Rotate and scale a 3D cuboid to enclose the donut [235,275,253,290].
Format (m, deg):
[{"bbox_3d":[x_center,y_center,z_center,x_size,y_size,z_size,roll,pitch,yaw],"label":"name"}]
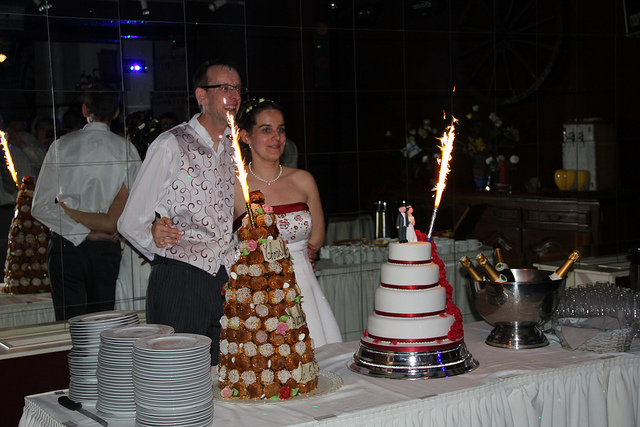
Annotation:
[{"bbox_3d":[-0.312,0.281,1.980,0.076,0.059,0.025,-1,4,5],"label":"donut"}]

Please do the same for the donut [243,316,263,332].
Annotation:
[{"bbox_3d":[-0.271,0.444,1.948,0.055,0.058,0.017,-1,-6,9],"label":"donut"}]

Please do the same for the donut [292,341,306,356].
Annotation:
[{"bbox_3d":[-0.078,0.557,1.994,0.053,0.055,0.014,8,-10,-31],"label":"donut"}]

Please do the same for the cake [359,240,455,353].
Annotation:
[{"bbox_3d":[0.413,0.370,2.385,0.468,0.428,0.438,-1,1,-5],"label":"cake"}]

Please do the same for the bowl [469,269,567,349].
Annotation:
[{"bbox_3d":[1.043,0.492,2.647,0.406,0.295,0.400,-1,1,0],"label":"bowl"}]

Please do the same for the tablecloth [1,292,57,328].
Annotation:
[{"bbox_3d":[-2.156,0.699,3.573,0.344,0.248,0.041,-3,4,-18],"label":"tablecloth"}]

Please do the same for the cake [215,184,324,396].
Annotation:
[{"bbox_3d":[-0.244,0.325,2.037,0.456,0.857,0.232,-2,4,-2],"label":"cake"}]

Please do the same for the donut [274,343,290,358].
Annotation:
[{"bbox_3d":[-0.150,0.558,1.960,0.050,0.031,0.051,3,-2,-9],"label":"donut"}]

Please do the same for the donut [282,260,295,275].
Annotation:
[{"bbox_3d":[-0.134,0.231,2.037,0.048,0.048,0.026,-8,-23,-46],"label":"donut"}]

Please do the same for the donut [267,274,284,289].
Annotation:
[{"bbox_3d":[-0.177,0.278,1.968,0.057,0.058,0.029,-46,15,-12],"label":"donut"}]

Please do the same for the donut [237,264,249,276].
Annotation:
[{"bbox_3d":[-0.315,0.232,1.987,0.040,0.042,0.023,11,0,10],"label":"donut"}]

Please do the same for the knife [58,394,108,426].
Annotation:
[{"bbox_3d":[-0.972,0.789,1.950,0.410,0.033,0.064,2,5,41],"label":"knife"}]

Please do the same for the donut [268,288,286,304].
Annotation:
[{"bbox_3d":[-0.164,0.337,1.962,0.056,0.057,0.017,-7,8,-32],"label":"donut"}]

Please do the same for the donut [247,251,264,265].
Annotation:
[{"bbox_3d":[-0.260,0.179,1.975,0.048,0.051,0.029,-2,-12,3],"label":"donut"}]

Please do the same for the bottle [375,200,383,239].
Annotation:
[{"bbox_3d":[0.582,0.057,4.710,0.076,0.379,0.035,-3,4,-13],"label":"bottle"}]

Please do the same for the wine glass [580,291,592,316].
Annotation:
[{"bbox_3d":[1.449,0.490,2.608,0.054,0.103,0.124,2,5,38],"label":"wine glass"}]

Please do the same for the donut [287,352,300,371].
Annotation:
[{"bbox_3d":[-0.105,0.604,1.972,0.066,0.068,0.021,7,-4,-32],"label":"donut"}]
